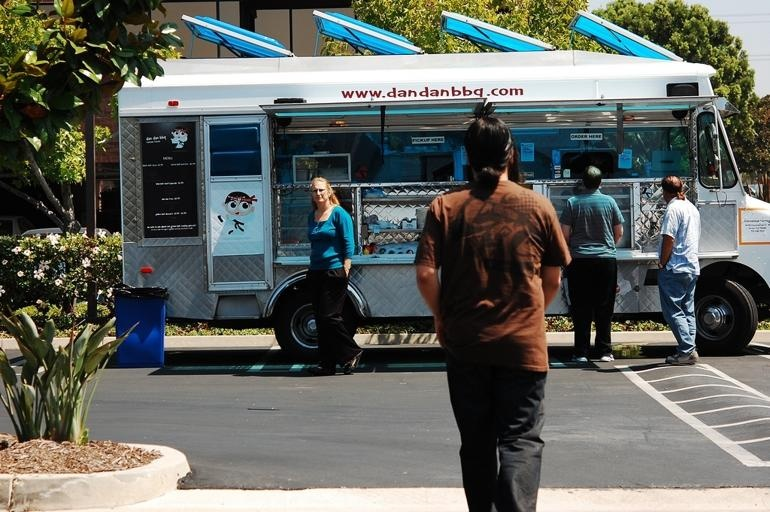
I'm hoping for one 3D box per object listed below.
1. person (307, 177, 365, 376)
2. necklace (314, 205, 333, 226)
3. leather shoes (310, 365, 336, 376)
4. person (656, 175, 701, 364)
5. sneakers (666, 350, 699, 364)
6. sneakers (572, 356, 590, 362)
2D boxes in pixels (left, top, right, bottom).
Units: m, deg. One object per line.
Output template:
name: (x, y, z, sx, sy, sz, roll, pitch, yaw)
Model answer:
person: (-0.734, 0.310, 14.073, 0.483, 2.649, 0.586, -10, 12, -42)
necklace: (-0.824, -0.534, 13.983, 0.181, 0.254, 0.076, 12, -8, 24)
leather shoes: (-0.849, 1.556, 14.250, 0.385, 0.158, 0.143, 4, -3, 6)
person: (3.939, 0.212, 13.998, 0.523, 2.490, 0.528, 1, 9, 14)
sneakers: (3.989, 1.359, 14.016, 0.453, 0.227, 0.168, 1, 1, -3)
sneakers: (2.700, 1.441, 14.416, 0.222, 0.097, 0.085, -1, 1, 15)
